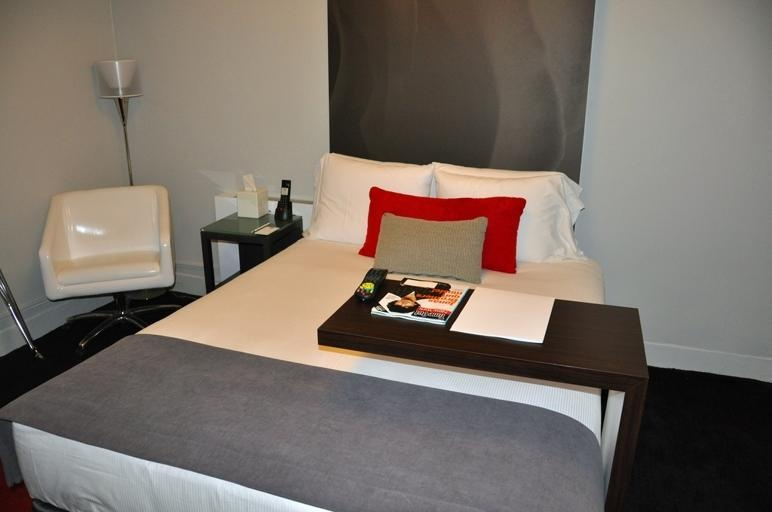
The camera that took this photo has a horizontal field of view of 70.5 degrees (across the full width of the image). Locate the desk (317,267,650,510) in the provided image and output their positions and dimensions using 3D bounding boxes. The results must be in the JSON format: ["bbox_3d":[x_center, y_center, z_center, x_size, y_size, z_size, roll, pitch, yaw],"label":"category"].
[{"bbox_3d":[0.646,0.804,2.923,1.648,1.043,0.866,6,23,14],"label":"desk"}]

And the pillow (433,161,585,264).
[{"bbox_3d":[0.934,-0.293,3.494,0.667,0.743,0.215,1,-14,12],"label":"pillow"}]

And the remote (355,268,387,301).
[{"bbox_3d":[-0.070,0.147,2.885,0.105,0.055,0.218,11,40,19],"label":"remote"}]

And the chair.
[{"bbox_3d":[-2.048,0.111,4.146,0.991,1.123,1.000,3,17,7],"label":"chair"}]

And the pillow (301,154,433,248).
[{"bbox_3d":[-0.253,-0.327,3.785,0.731,0.699,0.215,8,4,25],"label":"pillow"}]

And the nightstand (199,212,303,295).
[{"bbox_3d":[-1.033,-0.135,4.198,0.634,0.705,0.643,7,25,16],"label":"nightstand"}]
